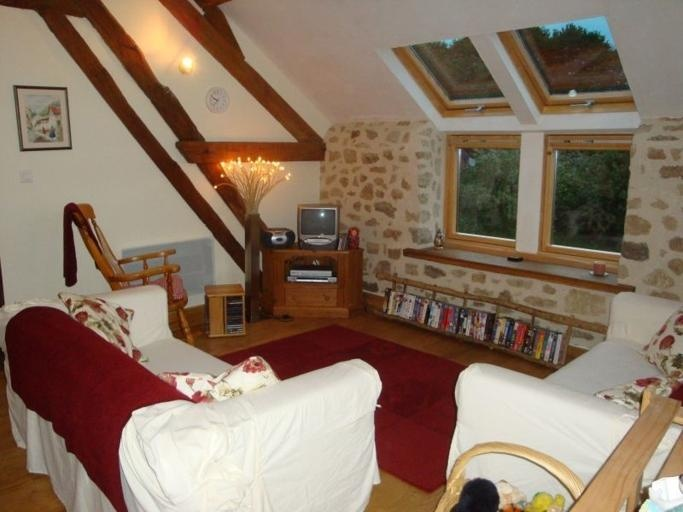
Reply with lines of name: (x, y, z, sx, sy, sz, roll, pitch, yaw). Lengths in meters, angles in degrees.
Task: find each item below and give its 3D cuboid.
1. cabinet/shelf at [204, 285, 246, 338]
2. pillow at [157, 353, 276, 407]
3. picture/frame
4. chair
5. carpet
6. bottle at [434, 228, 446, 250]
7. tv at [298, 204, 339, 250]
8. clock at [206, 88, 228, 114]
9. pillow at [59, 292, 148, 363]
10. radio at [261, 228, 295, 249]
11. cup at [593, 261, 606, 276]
cabinet/shelf: (-1.184, 0.519, 5.147, 0.513, 0.498, 0.461, -6, 11, -31)
pillow: (-0.559, 0.588, 2.332, 0.329, 0.118, 0.273, -2, 5, -24)
picture/frame: (-2.684, -1.249, 4.407, 0.029, 0.687, 0.573, 15, 22, 38)
chair: (-1.835, 0.103, 4.235, 1.049, 1.314, 0.912, -7, 24, -21)
carpet: (0.386, 1.063, 4.027, 1.214, 0.014, 1.745, 24, 10, 32)
bottle: (1.119, -0.203, 5.644, 0.125, 0.228, 0.192, 1, 6, 15)
tv: (-0.262, -0.352, 5.682, 0.475, 0.553, 0.303, 1, 17, -1)
clock: (-1.350, -1.684, 5.324, 0.273, 0.272, 0.045, -13, 21, -36)
pillow: (-1.522, 0.374, 3.097, 0.583, 0.135, 0.560, 23, 3, 15)
radio: (-0.698, -0.203, 5.511, 0.250, 0.137, 0.246, -1, 15, -13)
cup: (2.355, 0.113, 4.512, 0.109, 0.111, 0.116, -5, 10, 1)
